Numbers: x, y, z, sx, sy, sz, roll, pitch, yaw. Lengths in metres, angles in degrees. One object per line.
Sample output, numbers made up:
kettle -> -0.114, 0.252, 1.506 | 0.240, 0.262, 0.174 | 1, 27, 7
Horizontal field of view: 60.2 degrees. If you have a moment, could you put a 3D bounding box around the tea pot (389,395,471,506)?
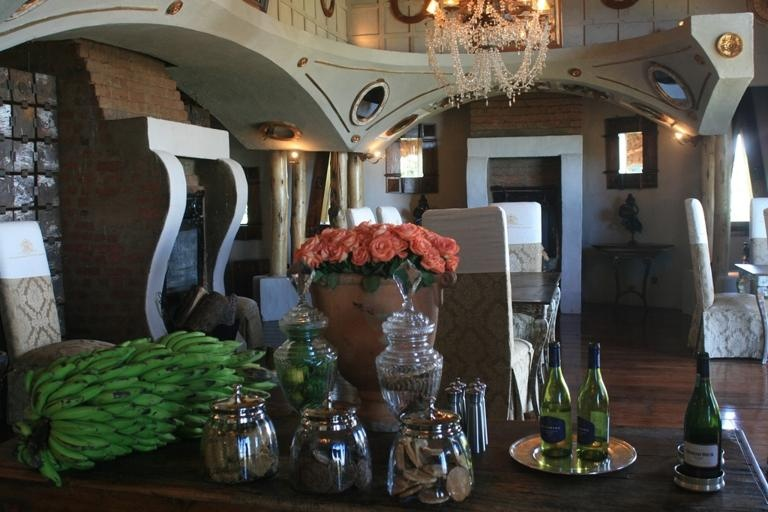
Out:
tea pot -> 0.122, 0.518, 1.756 | 0.231, 0.246, 0.112 | -1, 10, 2

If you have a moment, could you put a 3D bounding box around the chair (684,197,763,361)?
chair -> 2.850, 0.187, 5.604 | 0.700, 1.387, 0.489 | 1, 10, 11

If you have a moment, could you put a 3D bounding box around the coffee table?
coffee table -> 3.266, 0.188, 8.771 | 0.885, 0.917, 1.116 | 1, 4, 14

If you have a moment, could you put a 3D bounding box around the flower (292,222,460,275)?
flower -> -0.023, -0.024, 2.224 | 0.536, 0.166, 0.188 | 0, 10, 4

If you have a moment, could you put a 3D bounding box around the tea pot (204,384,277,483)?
tea pot -> -0.391, 0.504, 1.924 | 0.233, 0.247, 0.229 | 1, 2, 0

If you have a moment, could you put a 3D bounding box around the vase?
vase -> 0.063, 0.259, 2.359 | 0.593, 0.558, 0.432 | -1, -4, 3

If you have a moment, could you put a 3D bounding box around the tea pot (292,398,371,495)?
tea pot -> -0.138, 0.533, 1.869 | 0.221, 0.228, 0.215 | 0, -3, 0
